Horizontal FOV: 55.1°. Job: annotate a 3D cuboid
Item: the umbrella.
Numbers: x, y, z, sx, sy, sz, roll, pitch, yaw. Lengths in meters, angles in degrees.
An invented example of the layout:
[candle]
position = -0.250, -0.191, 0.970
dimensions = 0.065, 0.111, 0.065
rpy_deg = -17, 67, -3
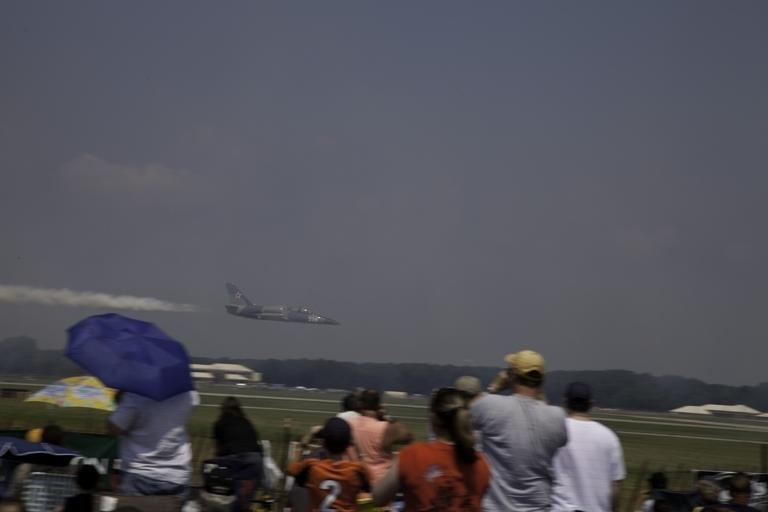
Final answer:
[umbrella]
position = -2.515, 1.005, 7.397
dimensions = 1.250, 0.772, 0.496
rpy_deg = 1, -12, 17

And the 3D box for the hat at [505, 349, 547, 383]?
[hat]
position = 1.168, 0.924, 6.198
dimensions = 0.332, 0.254, 0.214
rpy_deg = 1, -11, 13

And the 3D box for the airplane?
[airplane]
position = -11.550, 4.937, 73.355
dimensions = 4.513, 3.625, 12.644
rpy_deg = 12, -13, -39
